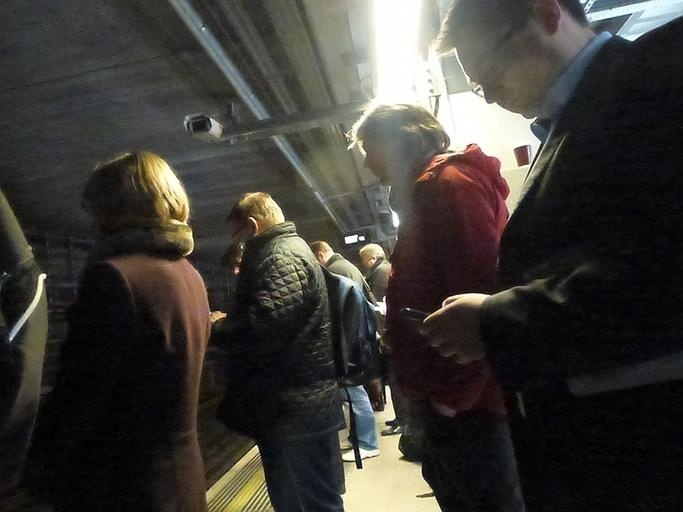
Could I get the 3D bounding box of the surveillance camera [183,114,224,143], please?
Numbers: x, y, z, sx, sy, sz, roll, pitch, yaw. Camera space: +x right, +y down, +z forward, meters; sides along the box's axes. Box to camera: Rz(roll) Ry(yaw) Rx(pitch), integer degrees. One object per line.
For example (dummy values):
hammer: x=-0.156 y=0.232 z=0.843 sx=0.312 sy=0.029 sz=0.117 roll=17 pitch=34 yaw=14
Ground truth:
surveillance camera: x=-0.620 y=-0.587 z=2.229 sx=0.090 sy=0.075 sz=0.307 roll=-3 pitch=1 yaw=9

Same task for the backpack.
backpack: x=0.006 y=0.269 z=2.221 sx=0.280 sy=0.392 sz=0.441 roll=-4 pitch=11 yaw=-13
